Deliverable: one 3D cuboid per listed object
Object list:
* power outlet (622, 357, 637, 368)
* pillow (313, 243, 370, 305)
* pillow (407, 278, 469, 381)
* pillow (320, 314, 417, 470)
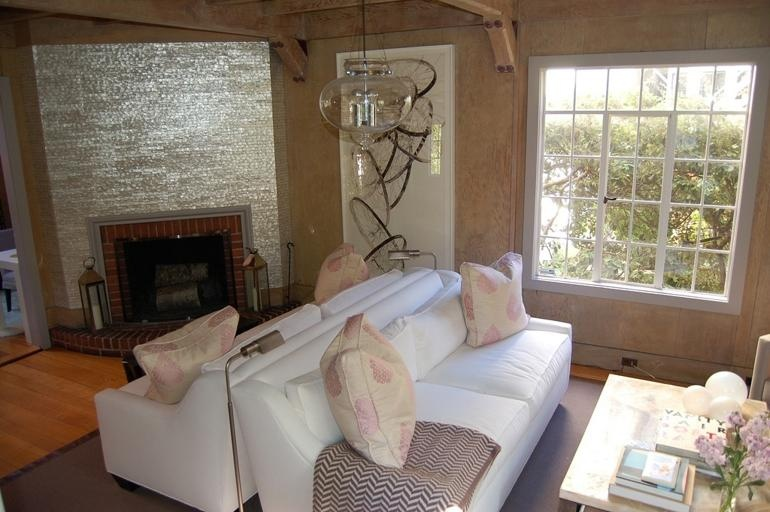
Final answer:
[{"bbox_3d":[2.412,1.052,5.318,0.142,0.094,0.033,9,13,25],"label":"power outlet"},{"bbox_3d":[-0.376,0.201,4.903,0.437,0.495,0.162,26,0,34],"label":"pillow"},{"bbox_3d":[0.426,0.630,4.384,0.154,0.406,0.669,-12,15,37],"label":"pillow"},{"bbox_3d":[-0.119,0.873,3.323,0.388,0.702,0.549,-26,36,-15],"label":"pillow"}]
